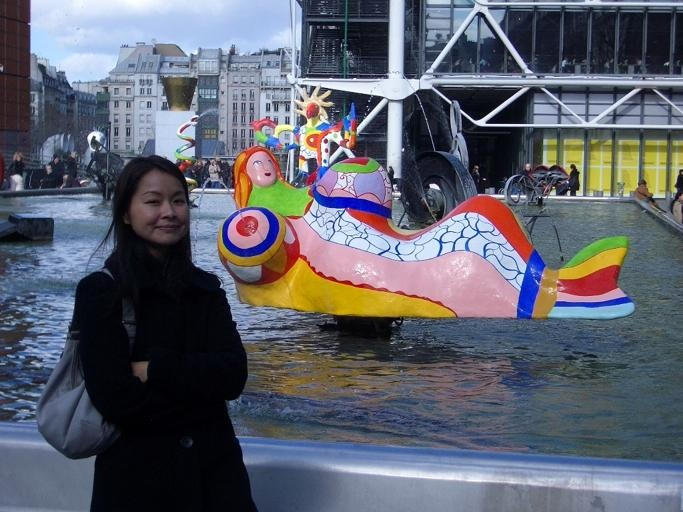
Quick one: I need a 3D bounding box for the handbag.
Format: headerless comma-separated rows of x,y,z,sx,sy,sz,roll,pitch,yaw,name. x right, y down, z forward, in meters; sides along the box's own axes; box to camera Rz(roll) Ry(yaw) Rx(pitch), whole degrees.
-1.007,0.536,3.489,0.297,0.495,0.157,5,9,24,handbag

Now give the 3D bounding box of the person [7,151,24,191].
-10.522,-2.691,30.021,0.410,1.226,1.688,-1,8,-20,person

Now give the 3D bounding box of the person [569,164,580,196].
8.645,-2.769,34.481,0.379,1.212,2.337,4,8,14,person

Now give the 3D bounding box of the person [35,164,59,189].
-10.844,-2.871,34.237,0.686,0.839,1.178,-1,8,-18,person
